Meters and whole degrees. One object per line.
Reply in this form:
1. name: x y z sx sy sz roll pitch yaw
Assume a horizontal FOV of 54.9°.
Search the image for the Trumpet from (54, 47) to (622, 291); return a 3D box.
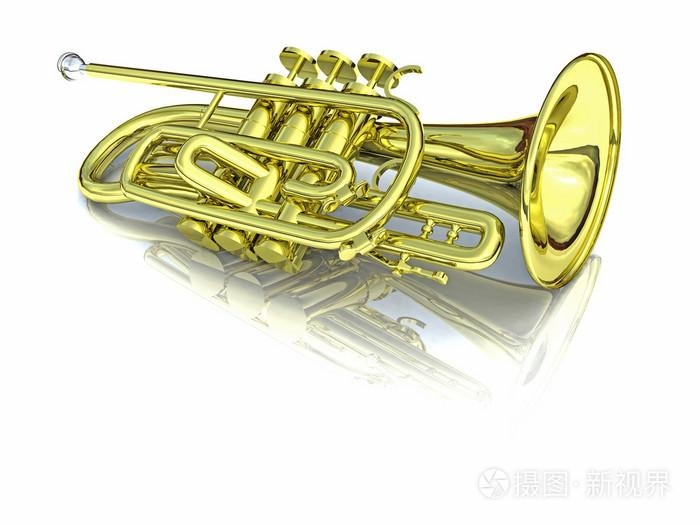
1. Trumpet: -0.197 -0.300 1.737 1.577 0.557 0.519 13 -1 23
